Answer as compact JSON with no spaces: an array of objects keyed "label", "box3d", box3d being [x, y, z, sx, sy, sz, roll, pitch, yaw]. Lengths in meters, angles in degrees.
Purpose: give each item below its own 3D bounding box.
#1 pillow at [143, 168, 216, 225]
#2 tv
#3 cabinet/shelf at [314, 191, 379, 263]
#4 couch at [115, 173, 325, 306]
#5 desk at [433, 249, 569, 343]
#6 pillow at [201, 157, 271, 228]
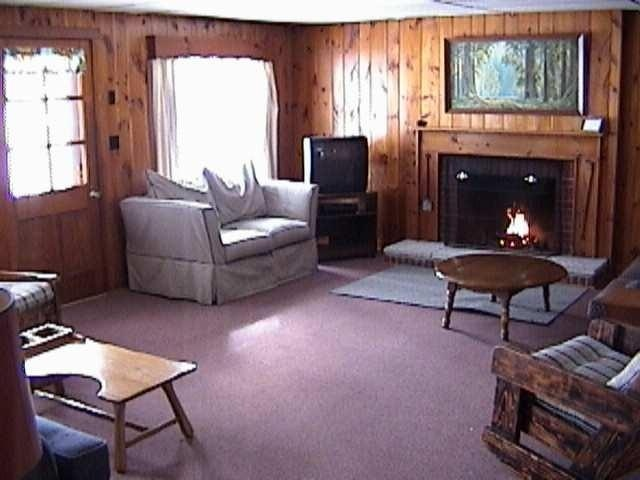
[{"label":"pillow","box3d":[-1.517,-0.471,5.351,0.694,0.254,0.459,7,2,-28]},{"label":"tv","box3d":[0.127,-0.932,6.488,0.940,1.063,0.645,-1,8,-6]},{"label":"cabinet/shelf","box3d":[0.247,-0.233,6.485,1.045,1.052,0.725,-3,15,-9]},{"label":"couch","box3d":[-1.137,-0.379,5.299,1.272,1.179,1.755,3,8,34]},{"label":"desk","box3d":[1.536,0.481,4.228,0.918,0.471,1.057,-3,7,11]},{"label":"pillow","box3d":[-0.984,-0.531,5.656,0.109,0.757,0.796,-20,-4,43]}]
